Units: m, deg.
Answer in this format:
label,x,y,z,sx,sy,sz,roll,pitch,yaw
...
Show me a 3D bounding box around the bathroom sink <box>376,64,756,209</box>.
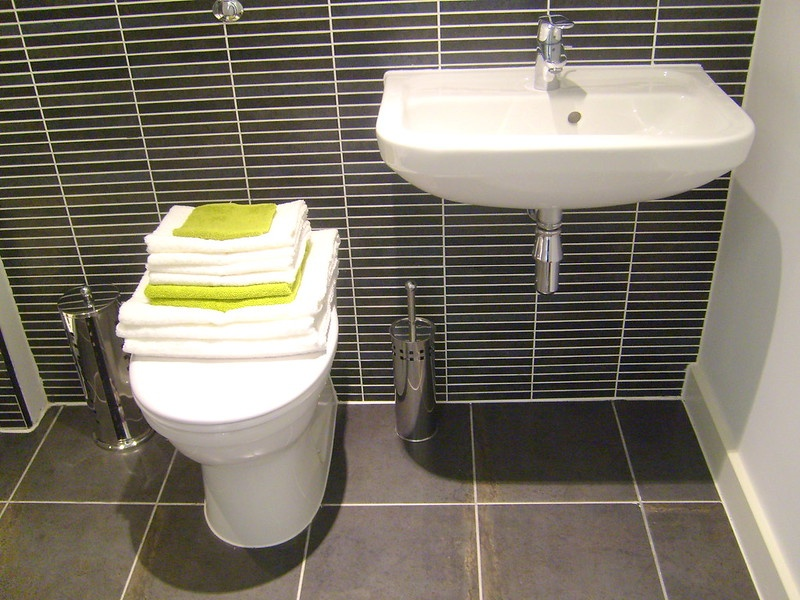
label,x,y,z,sx,sy,sz,roll,pitch,yaw
bathroom sink,0.344,-0.374,1.487,0.773,0.197,0.497,0,34,2
